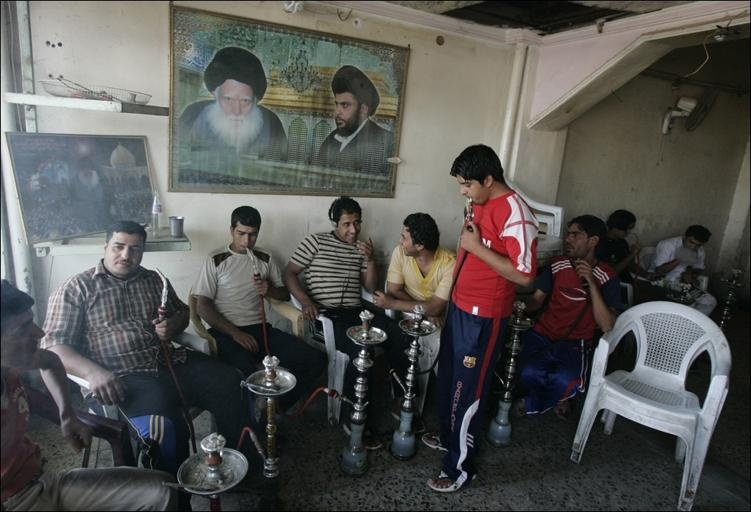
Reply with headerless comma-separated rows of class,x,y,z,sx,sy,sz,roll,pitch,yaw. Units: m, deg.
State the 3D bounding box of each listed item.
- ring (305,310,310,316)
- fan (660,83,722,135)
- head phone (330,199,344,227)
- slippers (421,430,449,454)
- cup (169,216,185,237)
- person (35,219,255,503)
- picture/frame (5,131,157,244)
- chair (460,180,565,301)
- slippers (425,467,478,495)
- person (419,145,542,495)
ring,-0.492,0.428,3.976,0.042,0.030,0.015,-2,2,26
fan,3.124,-1.467,5.386,0.472,0.506,0.268,14,17,38
head phone,-0.297,-0.328,4.141,0.117,0.178,0.134,4,23,15
slippers,0.406,1.278,3.740,0.194,0.083,0.083,31,28,21
cup,-1.369,-0.216,3.802,0.132,0.135,0.129,5,13,-1
person,-1.399,0.663,3.453,1.175,1.702,0.955,3,13,11
picture/frame,-1.955,-0.446,3.521,0.746,0.574,0.071,-12,8,-34
chair,1.143,-0.226,4.862,0.754,0.956,0.762,-9,15,-35
slippers,0.489,1.447,3.482,0.308,0.117,0.119,2,0,-18
person,0.646,0.413,3.352,0.581,2.159,0.464,4,14,6
